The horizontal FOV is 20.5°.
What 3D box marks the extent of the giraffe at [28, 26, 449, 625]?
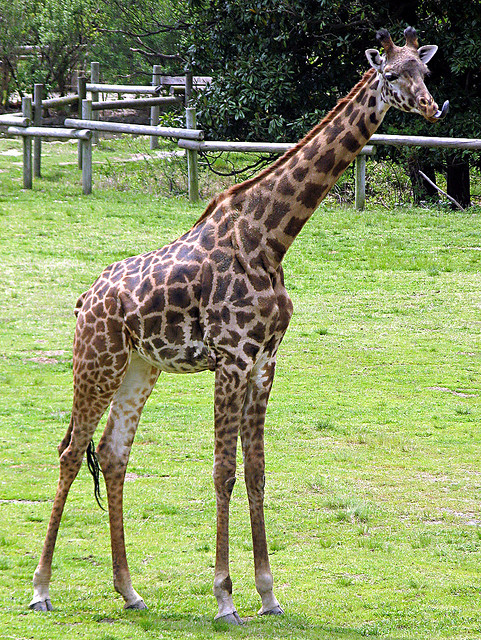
[{"bbox_3d":[-0.129,-0.028,9.606,2.599,4.084,0.977,1,7,0],"label":"giraffe"}]
